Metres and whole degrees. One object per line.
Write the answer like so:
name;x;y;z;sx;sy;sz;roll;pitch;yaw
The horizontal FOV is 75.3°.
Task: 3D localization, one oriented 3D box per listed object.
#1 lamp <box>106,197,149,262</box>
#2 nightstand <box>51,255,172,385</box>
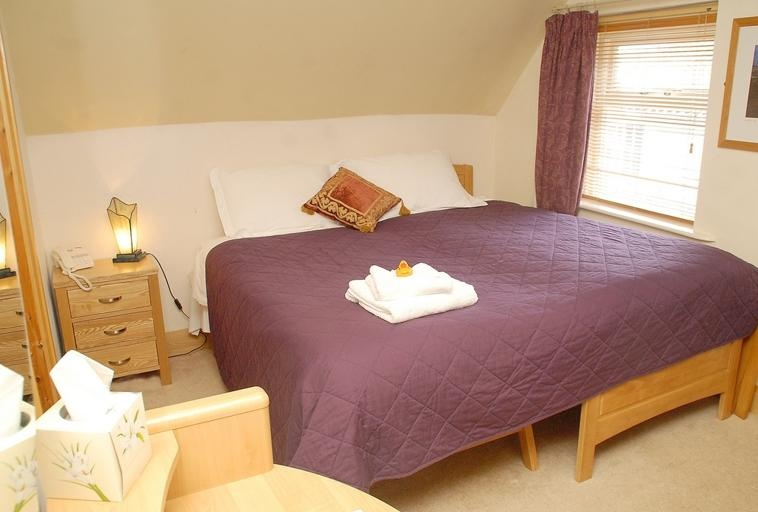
lamp;-1.660;-0.173;3.247;0.217;0.474;0.189;-4;20;-23
nightstand;-1.692;0.424;3.326;0.707;0.753;0.642;-9;19;-22
